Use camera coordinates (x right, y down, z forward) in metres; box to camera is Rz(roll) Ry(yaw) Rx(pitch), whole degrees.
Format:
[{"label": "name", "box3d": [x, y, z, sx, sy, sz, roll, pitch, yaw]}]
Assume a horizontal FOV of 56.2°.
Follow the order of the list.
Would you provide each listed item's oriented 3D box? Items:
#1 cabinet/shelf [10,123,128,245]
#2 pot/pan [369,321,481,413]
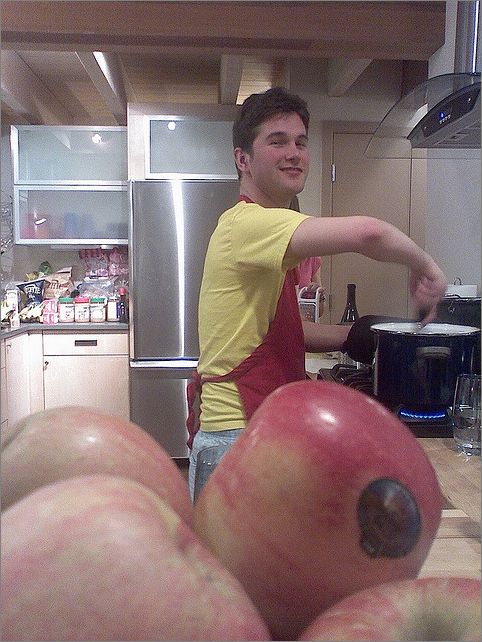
[{"label": "cabinet/shelf", "box3d": [-1.325, -1.027, 3.404, 0.742, 0.914, 0.447, -1, 1, -5]}, {"label": "pot/pan", "box3d": [0.367, 0.060, 0.924, 0.174, 0.154, 0.214, -1, 6, -5]}]
